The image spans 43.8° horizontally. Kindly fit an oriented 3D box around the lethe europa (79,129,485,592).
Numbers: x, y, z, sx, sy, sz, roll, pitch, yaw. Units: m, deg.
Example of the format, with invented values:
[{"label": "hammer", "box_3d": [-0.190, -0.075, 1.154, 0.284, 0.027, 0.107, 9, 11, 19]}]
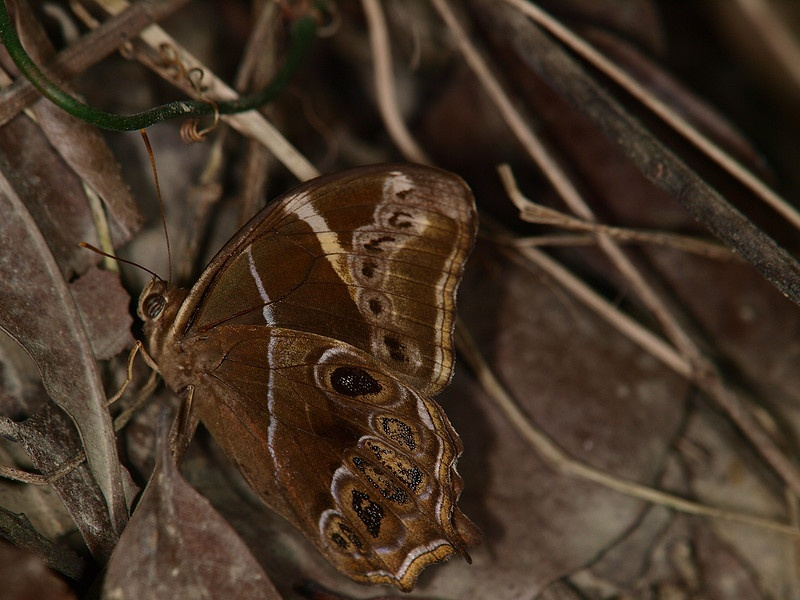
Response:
[{"label": "lethe europa", "box_3d": [-0.114, 0.120, 1.271, 0.425, 0.382, 0.422, 0, 62, 3]}]
